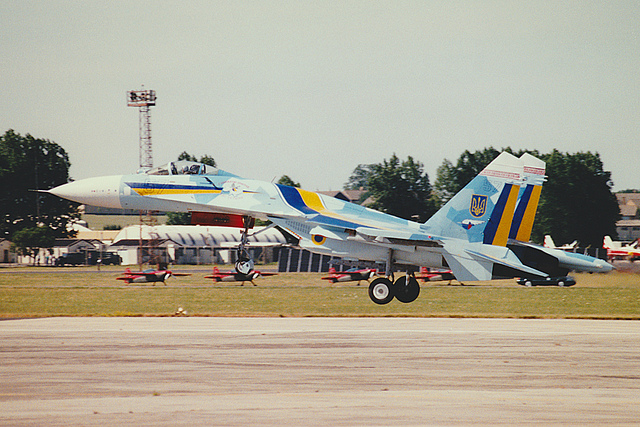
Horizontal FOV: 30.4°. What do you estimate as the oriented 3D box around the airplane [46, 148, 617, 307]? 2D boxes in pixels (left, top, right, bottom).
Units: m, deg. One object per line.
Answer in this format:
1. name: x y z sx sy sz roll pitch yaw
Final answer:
1. airplane: 1.684 0.767 65.997 20.980 4.862 13.253 5 -2 3
